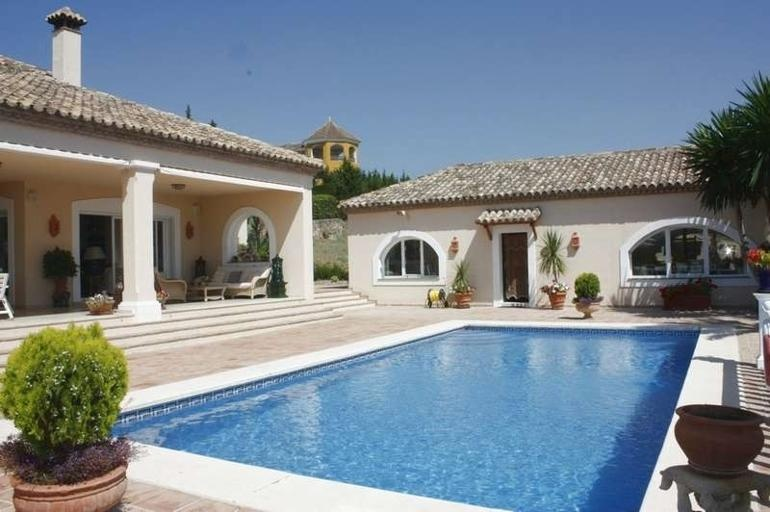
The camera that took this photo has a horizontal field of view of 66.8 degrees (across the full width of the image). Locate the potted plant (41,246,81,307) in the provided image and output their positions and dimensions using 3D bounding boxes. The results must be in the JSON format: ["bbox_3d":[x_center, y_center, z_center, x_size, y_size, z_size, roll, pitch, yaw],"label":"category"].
[{"bbox_3d":[-9.155,0.579,16.339,0.788,1.600,0.889,1,9,-2],"label":"potted plant"}]

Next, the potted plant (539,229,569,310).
[{"bbox_3d":[5.722,0.409,19.885,0.907,2.549,1.304,3,9,13],"label":"potted plant"}]

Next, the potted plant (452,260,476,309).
[{"bbox_3d":[2.841,1.044,21.160,0.793,1.627,0.933,2,9,9],"label":"potted plant"}]

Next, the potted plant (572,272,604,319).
[{"bbox_3d":[5.877,1.149,17.037,0.826,1.301,0.782,0,-1,-1],"label":"potted plant"}]

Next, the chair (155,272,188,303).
[{"bbox_3d":[-6.273,0.935,17.279,1.026,0.962,1.005,0,1,-14],"label":"chair"}]

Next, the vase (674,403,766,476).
[{"bbox_3d":[3.745,1.988,6.641,0.798,0.583,0.832,-4,-4,13],"label":"vase"}]

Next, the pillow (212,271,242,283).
[{"bbox_3d":[-5.130,0.698,19.203,0.957,0.391,0.395,-3,14,11],"label":"pillow"}]
